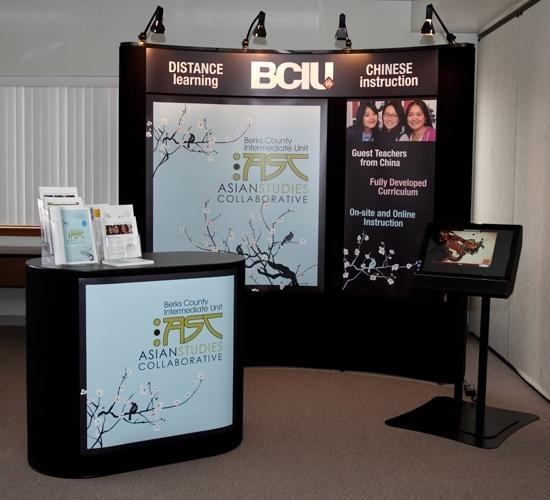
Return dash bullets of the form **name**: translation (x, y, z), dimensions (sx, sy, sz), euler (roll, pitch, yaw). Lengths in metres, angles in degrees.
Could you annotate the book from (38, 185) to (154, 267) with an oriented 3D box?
- **book**: translation (-1.038, -0.068, 3.007), dimensions (0.430, 0.536, 0.554), euler (1, 1, 43)
